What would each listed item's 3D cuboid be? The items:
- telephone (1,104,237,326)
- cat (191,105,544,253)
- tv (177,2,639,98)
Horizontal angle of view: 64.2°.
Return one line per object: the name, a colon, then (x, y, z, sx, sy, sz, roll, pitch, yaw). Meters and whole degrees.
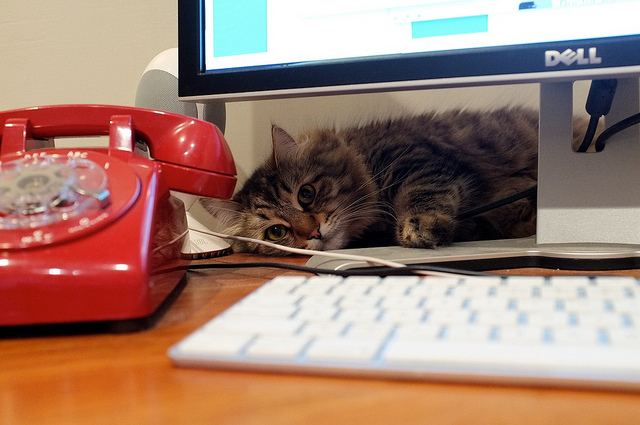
telephone: (-0.250, 0.001, 0.615, 0.284, 0.169, 0.241, -1, 0, 0)
cat: (0.104, 0.001, 0.905, 0.458, 0.317, 0.168, 4, 59, -13)
tv: (0.088, -0.214, 0.656, 0.577, 0.111, 0.058, 2, 24, 12)
